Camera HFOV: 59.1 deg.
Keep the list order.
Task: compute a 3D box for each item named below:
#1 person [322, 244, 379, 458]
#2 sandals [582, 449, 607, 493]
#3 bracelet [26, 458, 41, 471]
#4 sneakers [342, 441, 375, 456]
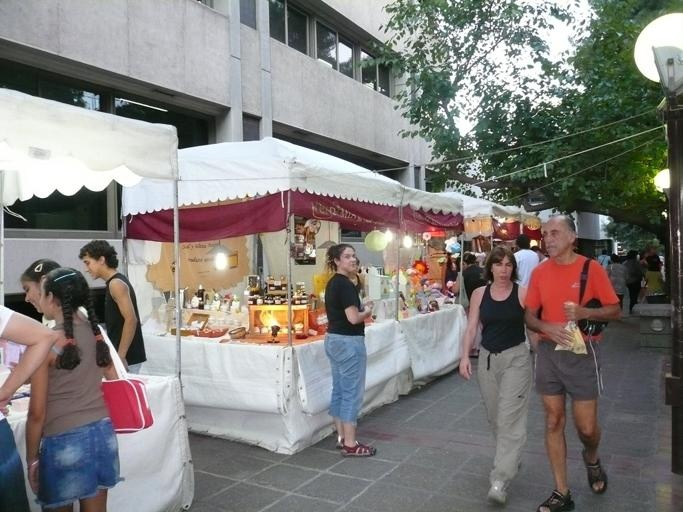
[{"bbox_3d":[0.078,0.938,6.096,0.443,2.113,0.491,-3,4,-20],"label":"person"},{"bbox_3d":[2.202,1.892,5.198,0.145,0.460,0.175,-13,-12,25],"label":"sandals"},{"bbox_3d":[-2.006,1.352,3.915,0.056,0.021,0.043,-38,-7,17],"label":"bracelet"},{"bbox_3d":[0.186,1.940,6.051,0.269,0.124,0.145,-4,-6,2],"label":"sneakers"}]
